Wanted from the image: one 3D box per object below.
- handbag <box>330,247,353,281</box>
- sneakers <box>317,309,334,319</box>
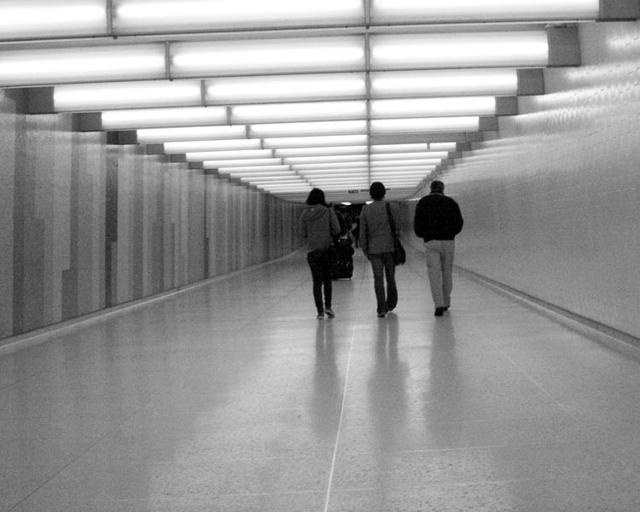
[{"bbox_3d":[0.611,0.073,14.533,0.673,0.624,1.012,-8,-72,-11],"label":"handbag"},{"bbox_3d":[0.097,0.870,7.942,0.314,0.110,0.147,-2,-90,2],"label":"sneakers"}]
